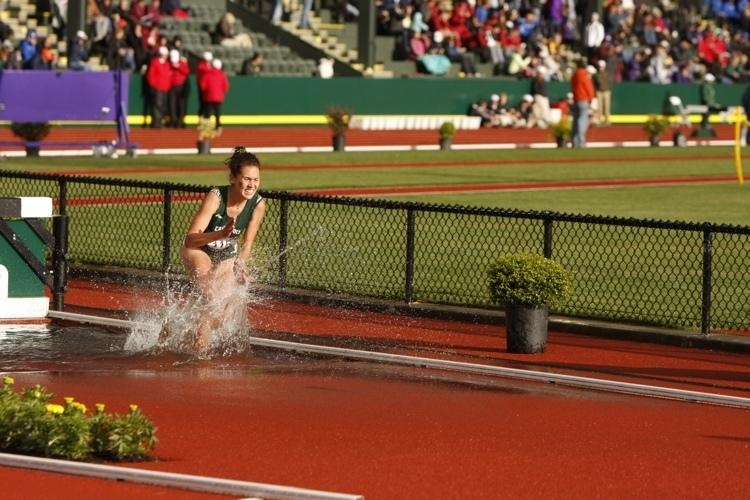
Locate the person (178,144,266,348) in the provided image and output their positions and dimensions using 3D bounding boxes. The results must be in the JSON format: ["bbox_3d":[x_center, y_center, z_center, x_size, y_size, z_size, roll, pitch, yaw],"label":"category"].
[{"bbox_3d":[-1.727,0.011,13.289,0.920,2.395,1.127,0,8,-10],"label":"person"}]

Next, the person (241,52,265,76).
[{"bbox_3d":[-4.408,-6.730,42.035,0.646,0.954,1.042,11,-7,-23],"label":"person"}]

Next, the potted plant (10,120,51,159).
[{"bbox_3d":[-9.565,-3.186,32.861,0.989,1.322,1.105,0,0,45],"label":"potted plant"}]

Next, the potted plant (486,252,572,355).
[{"bbox_3d":[1.864,0.625,14.357,0.930,1.307,1.171,-2,-5,3],"label":"potted plant"}]

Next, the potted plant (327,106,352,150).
[{"bbox_3d":[-1.200,-3.953,37.950,0.660,1.355,1.731,1,8,-3],"label":"potted plant"}]
